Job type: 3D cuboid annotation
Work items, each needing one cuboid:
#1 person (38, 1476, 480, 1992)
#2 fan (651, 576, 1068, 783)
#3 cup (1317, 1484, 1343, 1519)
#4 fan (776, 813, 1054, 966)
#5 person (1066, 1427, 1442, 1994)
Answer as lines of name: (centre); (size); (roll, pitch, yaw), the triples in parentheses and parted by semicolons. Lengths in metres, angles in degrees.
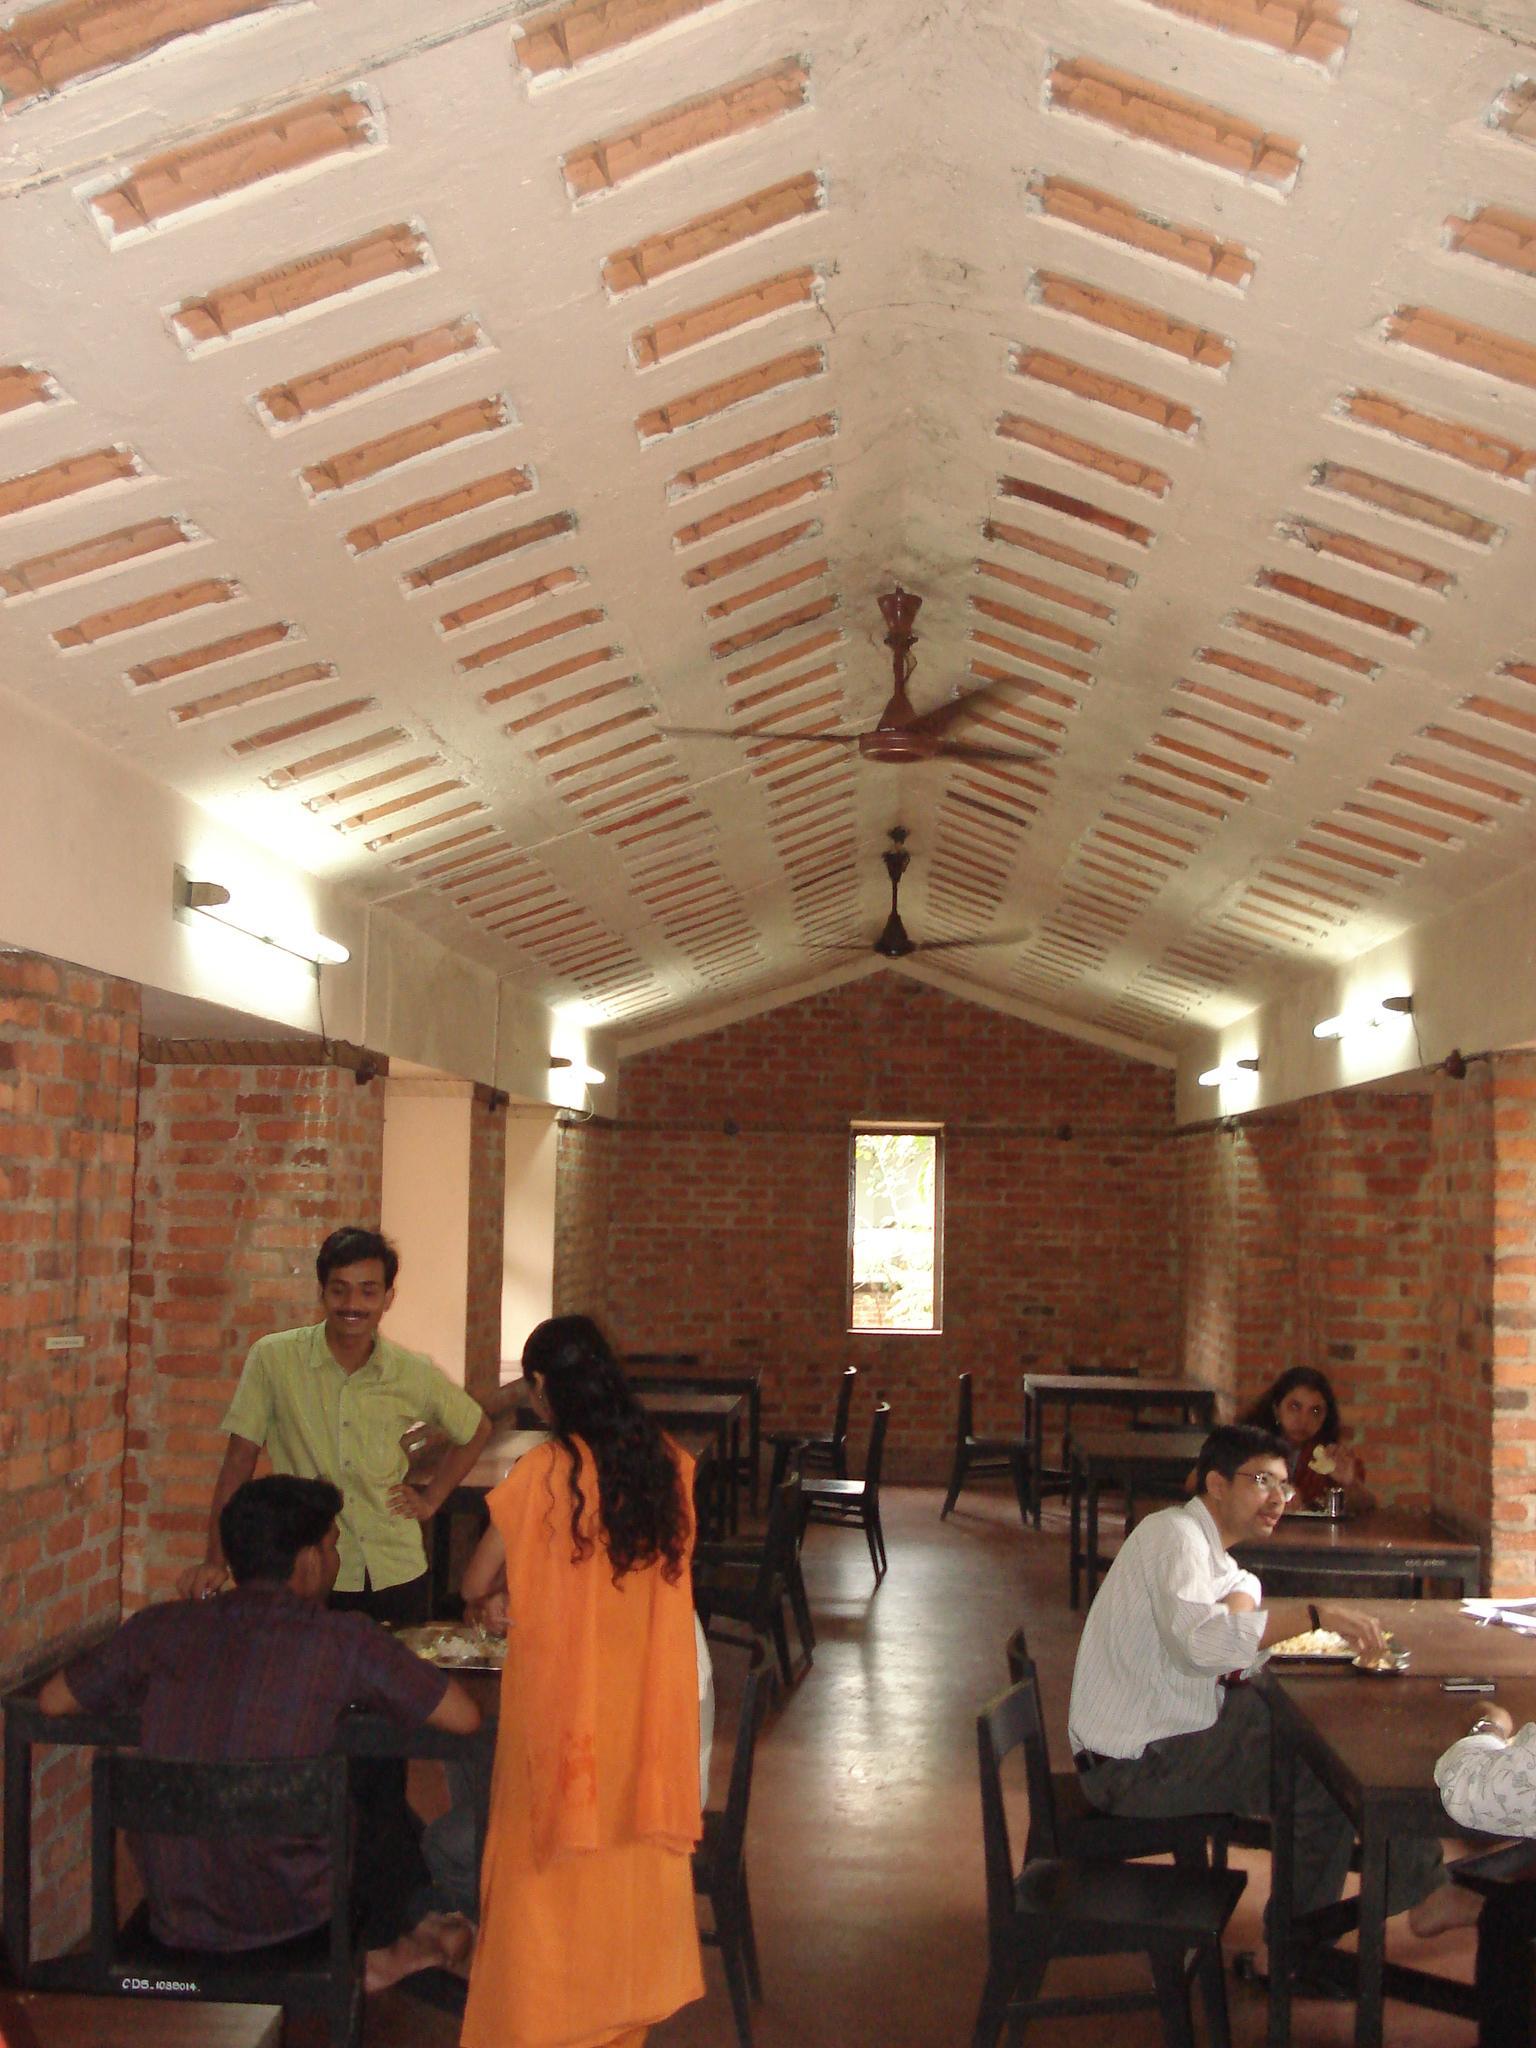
person: (-0.766, 1.163, 2.694); (0.532, 0.832, 0.618); (2, 1, 41)
fan: (0.397, -0.891, 4.282); (0.572, 0.308, 0.813); (3, -12, -39)
cup: (1.816, 1.558, 5.477); (0.086, 0.093, 0.084); (0, -5, 0)
fan: (0.591, -0.602, 7.759); (0.884, 0.553, 0.784); (9, -11, -38)
person: (0.947, 1.404, 3.465); (0.674, 1.051, 0.446); (-1, -9, 8)
